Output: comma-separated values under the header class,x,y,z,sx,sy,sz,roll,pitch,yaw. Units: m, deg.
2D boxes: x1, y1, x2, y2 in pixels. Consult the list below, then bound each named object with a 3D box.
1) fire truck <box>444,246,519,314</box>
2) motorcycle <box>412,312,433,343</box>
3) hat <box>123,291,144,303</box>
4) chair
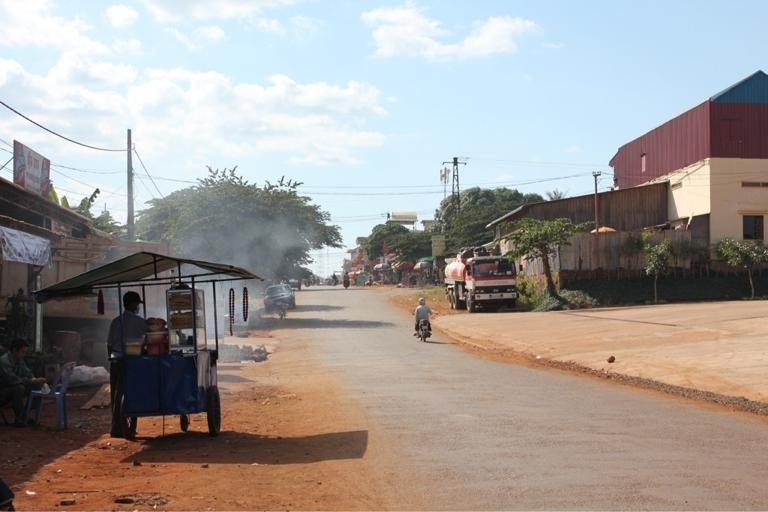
class,x,y,z,sx,sy,sz,roll,pitch,yaw
fire truck,5.382,1.317,45.219,2.697,3.611,7.854,-2,3,-8
motorcycle,1.521,2.823,30.788,0.496,1.051,1.083,-2,4,-6
hat,-5.488,0.908,17.144,0.363,0.201,0.266,-6,9,-41
chair,-7.687,3.259,18.037,1.064,1.955,1.736,0,-2,-3
